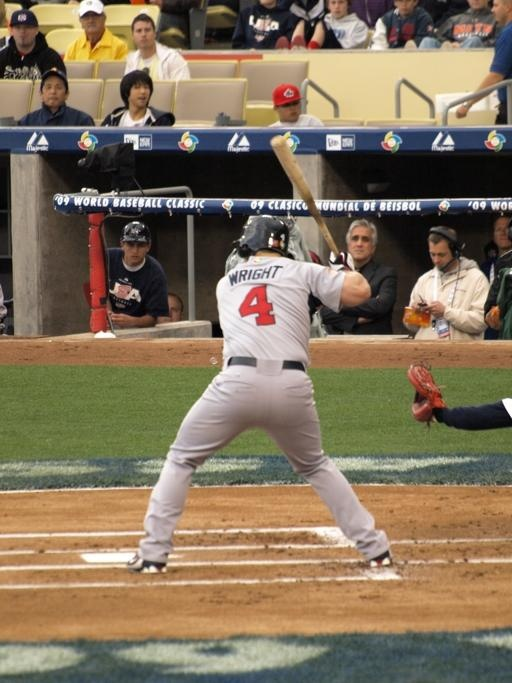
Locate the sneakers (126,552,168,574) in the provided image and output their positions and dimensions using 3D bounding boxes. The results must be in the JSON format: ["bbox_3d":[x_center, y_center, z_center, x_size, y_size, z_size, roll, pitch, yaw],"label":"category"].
[{"bbox_3d":[-0.469,0.954,5.917,0.187,0.082,0.068,6,-11,10],"label":"sneakers"}]

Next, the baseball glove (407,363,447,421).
[{"bbox_3d":[0.777,0.257,6.600,0.120,0.256,0.188,-16,15,-12],"label":"baseball glove"}]

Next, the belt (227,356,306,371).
[{"bbox_3d":[0.034,0.099,5.828,0.320,0.070,0.119,-1,12,0],"label":"belt"}]

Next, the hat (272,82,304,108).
[{"bbox_3d":[0.200,-1.758,9.955,0.145,0.115,0.201,-10,13,-13],"label":"hat"}]

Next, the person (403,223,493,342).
[{"bbox_3d":[1.145,-0.327,8.435,0.484,0.700,0.643,1,12,9],"label":"person"}]

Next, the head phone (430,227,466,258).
[{"bbox_3d":[1.147,-0.601,8.561,0.139,0.214,0.352,7,14,32],"label":"head phone"}]

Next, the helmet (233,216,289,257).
[{"bbox_3d":[0.024,-0.462,6.088,0.211,0.169,0.160,-6,10,-20],"label":"helmet"}]

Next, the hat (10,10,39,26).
[{"bbox_3d":[-1.904,-2.657,11.424,0.208,0.145,0.335,-3,12,-11],"label":"hat"}]
